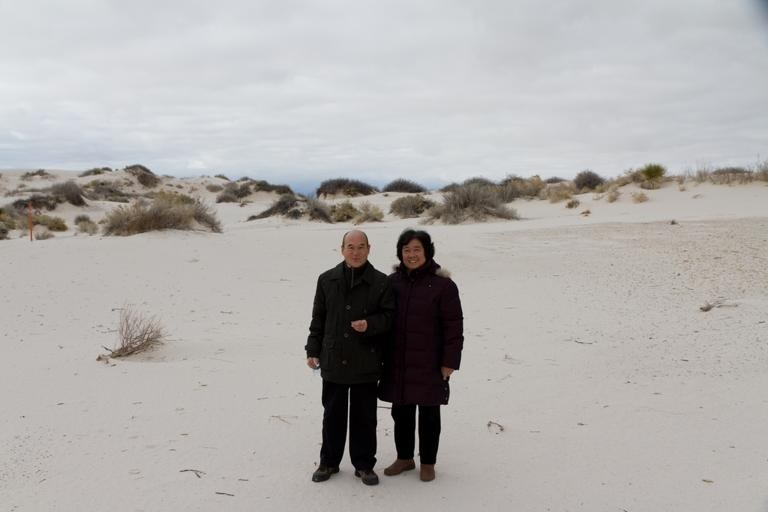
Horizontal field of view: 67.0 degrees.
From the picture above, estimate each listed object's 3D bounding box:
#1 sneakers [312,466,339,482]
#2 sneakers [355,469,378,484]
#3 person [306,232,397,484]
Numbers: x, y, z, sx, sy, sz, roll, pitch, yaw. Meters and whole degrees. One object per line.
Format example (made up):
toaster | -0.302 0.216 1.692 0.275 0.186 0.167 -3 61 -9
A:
sneakers | -0.548 2.036 5.439 0.101 0.110 0.267 -9 -19 30
sneakers | -0.162 2.043 5.403 0.090 0.097 0.237 6 -11 -36
person | -0.310 0.921 5.454 0.865 2.314 0.557 -3 7 -1
